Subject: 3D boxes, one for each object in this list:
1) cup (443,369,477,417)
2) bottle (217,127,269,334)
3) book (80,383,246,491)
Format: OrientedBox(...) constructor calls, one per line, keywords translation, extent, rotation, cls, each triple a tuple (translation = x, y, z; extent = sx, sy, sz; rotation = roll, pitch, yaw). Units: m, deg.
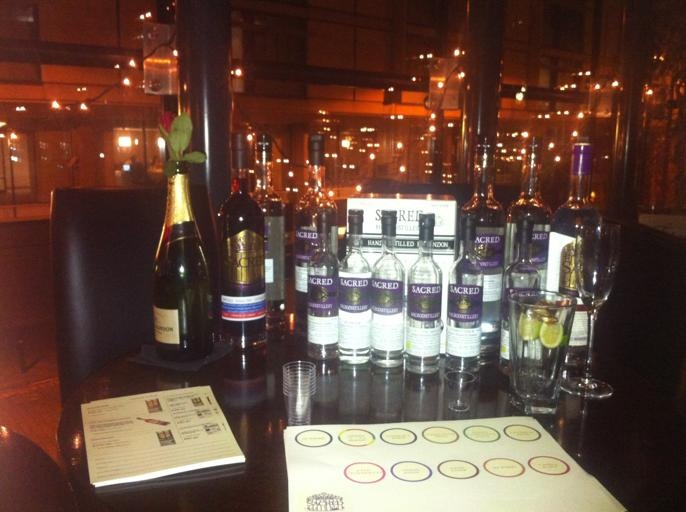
OrientedBox(translation=(0.292, 0.341, 1.542), extent=(0.068, 0.083, 0.074), rotation=(-1, 5, 0), cls="cup")
OrientedBox(translation=(-0.292, -0.064, 1.793), extent=(0.135, 0.569, 0.215), rotation=(-2, 11, -12), cls="bottle")
OrientedBox(translation=(-0.409, 0.399, 1.398), extent=(0.314, 0.100, 0.308), rotation=(-5, 12, -24), cls="book")
